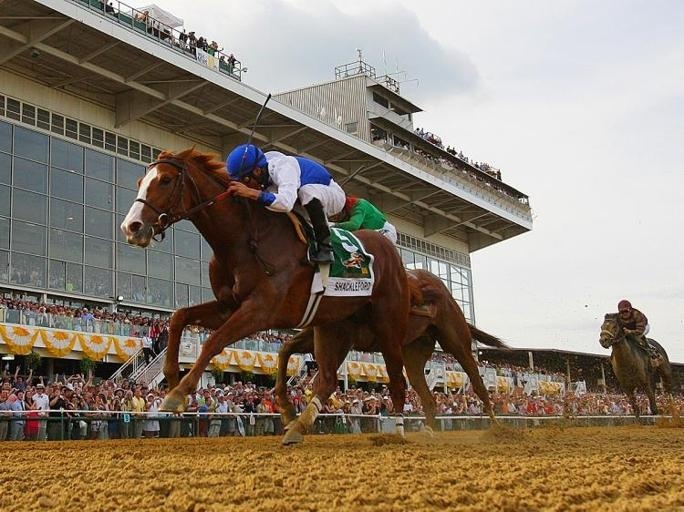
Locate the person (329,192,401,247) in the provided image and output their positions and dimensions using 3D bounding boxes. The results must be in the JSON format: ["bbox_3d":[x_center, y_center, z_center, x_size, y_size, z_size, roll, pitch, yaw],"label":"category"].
[{"bbox_3d":[0.342,-0.403,11.111,1.199,0.677,0.391,27,-24,-29],"label":"person"}]

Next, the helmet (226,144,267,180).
[{"bbox_3d":[-1.198,-1.141,9.700,0.482,0.403,0.372,-31,16,-29],"label":"helmet"}]

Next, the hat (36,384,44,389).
[{"bbox_3d":[-6.493,2.798,16.885,0.208,0.059,0.210,4,-9,-20],"label":"hat"}]
